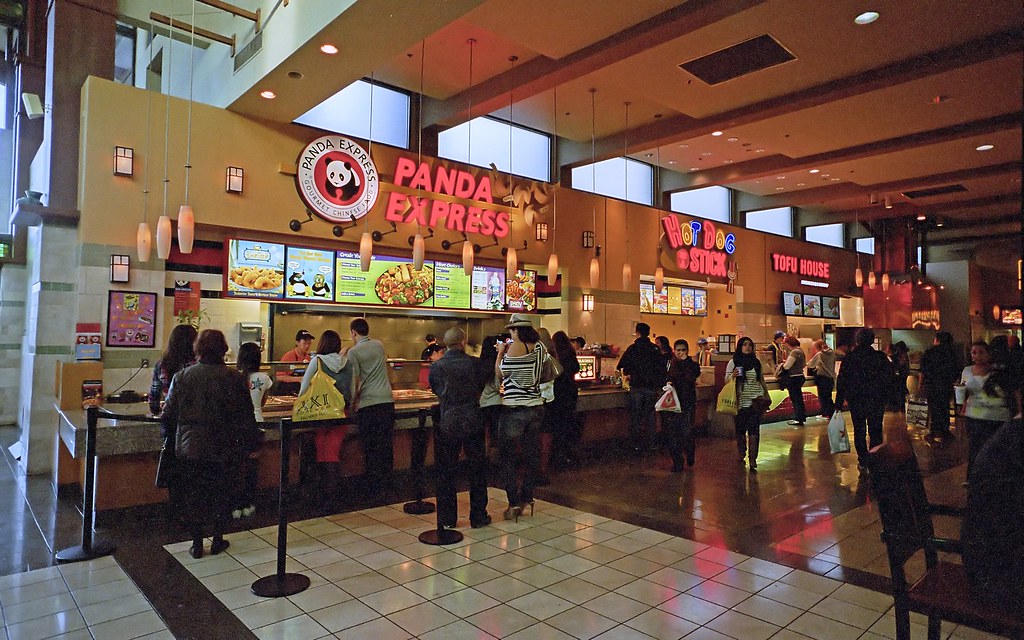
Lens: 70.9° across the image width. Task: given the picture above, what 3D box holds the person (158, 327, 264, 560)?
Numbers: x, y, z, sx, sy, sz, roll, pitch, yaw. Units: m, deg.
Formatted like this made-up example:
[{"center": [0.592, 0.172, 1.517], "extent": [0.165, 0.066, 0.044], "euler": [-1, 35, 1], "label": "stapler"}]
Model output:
[{"center": [-3.173, 1.285, 7.525], "extent": [0.940, 2.377, 0.330], "euler": [0, 0, -17], "label": "person"}]

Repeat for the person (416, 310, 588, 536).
[{"center": [-0.156, 1.144, 8.463], "extent": [1.588, 2.396, 0.499], "euler": [0, 0, -22], "label": "person"}]

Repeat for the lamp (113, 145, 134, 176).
[{"center": [-5.401, -2.185, 9.951], "extent": [0.241, 0.404, 0.115], "euler": [0, 0, -20], "label": "lamp"}]

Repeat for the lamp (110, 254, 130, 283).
[{"center": [-5.493, -0.714, 10.004], "extent": [0.224, 0.403, 0.109], "euler": [0, 0, -38], "label": "lamp"}]

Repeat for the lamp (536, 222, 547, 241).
[{"center": [0.560, -1.630, 13.308], "extent": [0.130, 0.307, 0.323], "euler": [0, 0, 43], "label": "lamp"}]

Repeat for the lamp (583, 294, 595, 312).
[{"center": [1.490, -0.328, 14.046], "extent": [0.119, 0.352, 0.327], "euler": [-1, 0, 41], "label": "lamp"}]

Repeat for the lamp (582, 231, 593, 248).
[{"center": [1.436, -1.573, 13.971], "extent": [0.351, 0.304, 0.119], "euler": [3, -1, -44], "label": "lamp"}]

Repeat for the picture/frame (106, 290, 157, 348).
[{"center": [-5.400, -0.021, 10.077], "extent": [0.778, 0.980, 0.038], "euler": [7, -8, -34], "label": "picture/frame"}]

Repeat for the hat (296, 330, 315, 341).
[{"center": [-3.088, 0.228, 10.539], "extent": [0.320, 0.149, 0.199], "euler": [-3, -4, 40], "label": "hat"}]

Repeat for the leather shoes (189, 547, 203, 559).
[{"center": [-3.307, 2.421, 7.524], "extent": [0.079, 0.125, 0.195], "euler": [0, 3, -16], "label": "leather shoes"}]

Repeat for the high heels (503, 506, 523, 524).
[{"center": [0.020, 2.250, 8.308], "extent": [0.131, 0.149, 0.206], "euler": [-1, 10, -9], "label": "high heels"}]

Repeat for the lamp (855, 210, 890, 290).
[{"center": [9.865, -1.772, 19.428], "extent": [0.898, 2.018, 4.242], "euler": [0, 1, 26], "label": "lamp"}]

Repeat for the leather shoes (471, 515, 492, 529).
[{"center": [-0.357, 2.280, 8.253], "extent": [0.279, 0.146, 0.167], "euler": [-1, 0, -17], "label": "leather shoes"}]

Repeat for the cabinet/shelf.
[{"center": [-5.408, 1.344, 8.872], "extent": [0.485, 1.624, 1.815], "euler": [0, 0, -32], "label": "cabinet/shelf"}]

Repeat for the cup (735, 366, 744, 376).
[{"center": [3.150, 0.708, 10.001], "extent": [0.110, 0.111, 0.108], "euler": [-1, -4, 0], "label": "cup"}]

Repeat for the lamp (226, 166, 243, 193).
[{"center": [-4.082, -2.054, 10.545], "extent": [0.233, 0.406, 0.139], "euler": [0, 0, -19], "label": "lamp"}]

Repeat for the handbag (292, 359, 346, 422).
[{"center": [-2.116, 0.737, 8.012], "extent": [0.536, 0.685, 0.292], "euler": [-9, 10, 15], "label": "handbag"}]

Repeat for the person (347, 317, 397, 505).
[{"center": [-1.722, 0.938, 8.678], "extent": [0.511, 1.897, 0.381], "euler": [0, 0, -8], "label": "person"}]

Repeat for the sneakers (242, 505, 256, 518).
[{"center": [-3.100, 2.231, 8.394], "extent": [0.117, 0.108, 0.041], "euler": [4, 4, -35], "label": "sneakers"}]

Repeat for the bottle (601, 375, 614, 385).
[{"center": [1.515, 0.954, 11.516], "extent": [0.207, 0.133, 0.106], "euler": [2, -7, -27], "label": "bottle"}]
